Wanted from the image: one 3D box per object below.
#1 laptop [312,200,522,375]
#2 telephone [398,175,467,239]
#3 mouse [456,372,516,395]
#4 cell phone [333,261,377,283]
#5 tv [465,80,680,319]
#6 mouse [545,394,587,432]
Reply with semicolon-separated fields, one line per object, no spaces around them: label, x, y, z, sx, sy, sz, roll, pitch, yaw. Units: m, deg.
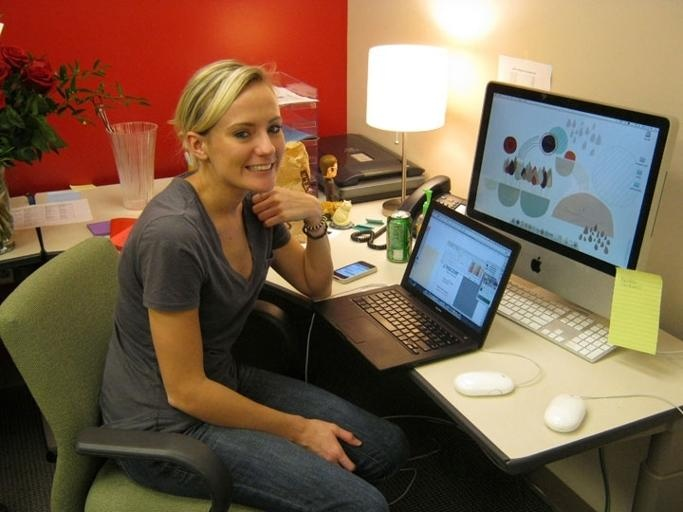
laptop;0.290;0.139;1.467;0.352;0.525;0.523;18;10;-32
telephone;0.370;-0.234;1.953;0.224;0.118;0.303;-19;31;-17
mouse;0.351;0.309;1.169;0.095;0.025;0.066;-1;18;-2
cell phone;0.044;0.051;1.689;0.117;0.020;0.069;-20;31;-35
tv;0.664;-0.149;1.359;0.179;0.534;0.543;-17;34;-36
mouse;0.511;0.353;1.105;0.079;0.029;0.115;5;28;45
